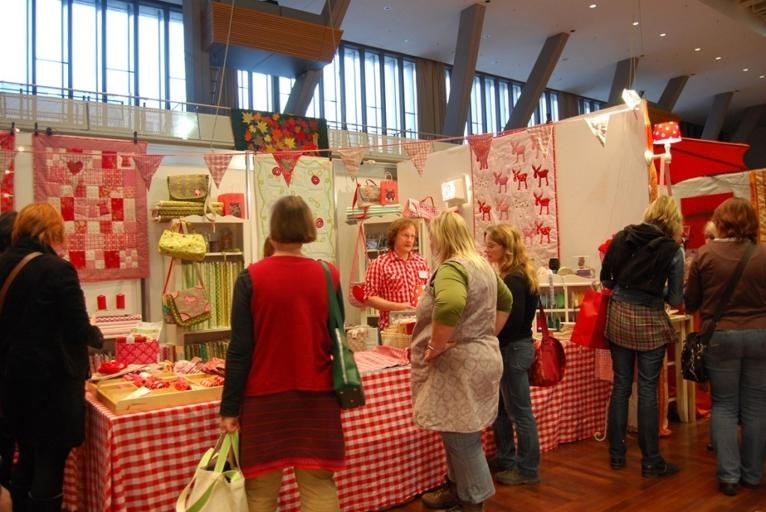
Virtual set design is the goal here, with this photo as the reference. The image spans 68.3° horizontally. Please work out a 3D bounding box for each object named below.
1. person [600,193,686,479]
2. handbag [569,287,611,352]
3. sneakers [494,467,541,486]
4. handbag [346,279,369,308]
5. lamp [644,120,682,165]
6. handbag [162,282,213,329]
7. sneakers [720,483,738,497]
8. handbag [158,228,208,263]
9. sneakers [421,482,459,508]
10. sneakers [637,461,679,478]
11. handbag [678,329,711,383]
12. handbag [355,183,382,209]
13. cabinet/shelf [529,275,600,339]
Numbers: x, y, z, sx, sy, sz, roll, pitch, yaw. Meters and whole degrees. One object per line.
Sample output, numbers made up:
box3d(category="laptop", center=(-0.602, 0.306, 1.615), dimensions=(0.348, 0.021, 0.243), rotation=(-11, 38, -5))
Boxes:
box3d(category="person", center=(2.144, 0.662, 4.699), dimensions=(0.728, 2.293, 0.383), rotation=(8, 9, 25))
box3d(category="handbag", center=(1.825, 0.576, 4.938), dimensions=(0.218, 0.599, 0.640), rotation=(1, 0, 34))
box3d(category="sneakers", center=(1.078, 1.814, 4.573), dimensions=(0.312, 0.146, 0.129), rotation=(4, -7, 0))
box3d(category="handbag", center=(-0.228, 0.353, 5.159), dimensions=(0.190, 0.242, 0.232), rotation=(-1, -3, 3))
box3d(category="lamp", center=(3.798, -1.520, 7.631), dimensions=(0.392, 0.572, 0.473), rotation=(-1, 0, -32))
box3d(category="handbag", center=(-2.026, 0.503, 5.994), dimensions=(0.664, 0.515, 0.354), rotation=(-7, 0, -39))
box3d(category="sneakers", center=(2.678, 1.827, 4.354), dimensions=(0.066, 0.088, 0.131), rotation=(-2, -18, 3))
box3d(category="handbag", center=(-2.211, -0.111, 6.282), dimensions=(0.335, 0.333, 0.124), rotation=(17, -23, -9))
box3d(category="sneakers", center=(0.443, 1.857, 4.380), dimensions=(0.311, 0.199, 0.135), rotation=(3, -2, 10))
box3d(category="sneakers", center=(2.272, 1.768, 4.702), dimensions=(0.346, 0.157, 0.122), rotation=(-3, 1, -19))
box3d(category="handbag", center=(2.398, 0.816, 4.512), dimensions=(0.263, 0.366, 0.207), rotation=(5, 1, -5))
box3d(category="handbag", center=(-0.202, -0.871, 8.241), dimensions=(0.457, 0.381, 0.177), rotation=(-2, 0, -30))
box3d(category="cabinet/shelf", center=(1.922, 0.538, 5.940), dimensions=(0.628, 0.581, 0.216), rotation=(-4, 5, 13))
